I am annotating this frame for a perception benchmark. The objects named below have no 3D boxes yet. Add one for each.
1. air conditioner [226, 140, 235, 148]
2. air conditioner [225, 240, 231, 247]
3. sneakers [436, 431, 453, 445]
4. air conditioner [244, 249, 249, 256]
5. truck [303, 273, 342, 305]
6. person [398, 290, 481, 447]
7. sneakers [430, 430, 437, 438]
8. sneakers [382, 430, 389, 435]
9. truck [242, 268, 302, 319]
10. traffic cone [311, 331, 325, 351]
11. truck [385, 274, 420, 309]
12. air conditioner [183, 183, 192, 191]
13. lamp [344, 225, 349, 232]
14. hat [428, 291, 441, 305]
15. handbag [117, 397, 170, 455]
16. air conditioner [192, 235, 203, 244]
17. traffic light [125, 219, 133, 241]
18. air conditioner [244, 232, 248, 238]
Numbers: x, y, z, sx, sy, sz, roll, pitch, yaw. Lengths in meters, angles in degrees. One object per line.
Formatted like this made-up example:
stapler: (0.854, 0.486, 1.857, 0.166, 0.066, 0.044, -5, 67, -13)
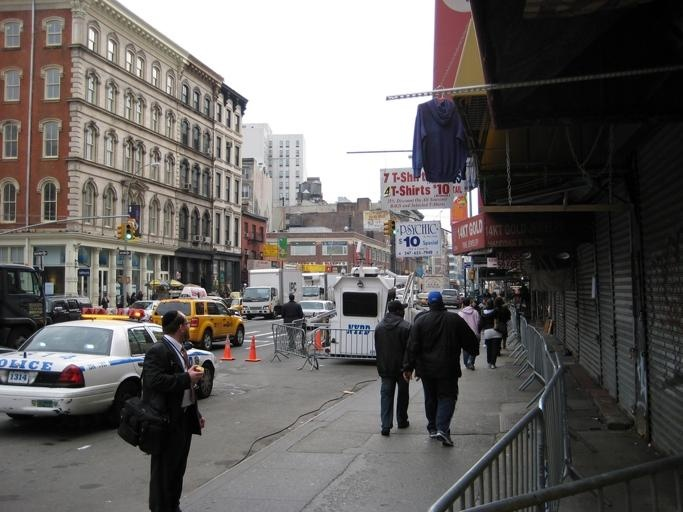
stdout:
air conditioner: (-11.574, -11.720, 71.225, 0.760, 0.849, 0.430, 1, -11, -20)
air conditioner: (-11.835, -1.335, 71.457, 0.403, 0.823, 0.806, -1, -3, 8)
sneakers: (1.573, 2.757, 10.468, 0.260, 0.218, 0.263, -3, -3, 8)
air conditioner: (-10.935, -0.443, 79.039, 0.435, 0.923, 0.860, -2, -5, 8)
truck: (-1.613, 2.214, 51.816, 1.711, 2.235, 3.788, -2, -4, 17)
person: (1.644, 1.738, 10.956, 1.122, 2.397, 1.151, 2, -6, 2)
sneakers: (1.442, 2.781, 10.768, 0.130, 0.077, 0.197, -2, -6, 3)
sneakers: (0.707, 2.861, 11.164, 0.134, 0.085, 0.107, -3, -3, 13)
truck: (-4.962, 2.700, 49.933, 2.352, 3.368, 6.125, -2, -7, 14)
traffic cone: (-0.895, 3.156, 25.916, 0.489, 0.855, 0.668, 1, -4, -29)
truck: (2.520, 1.175, 26.008, 1.429, 1.363, 2.401, 0, -8, -1)
air conditioner: (-13.991, -6.223, 62.227, 0.488, 0.841, 0.921, -1, -3, 4)
lamp: (0.935, -4.911, 122.133, 1.037, 0.924, 1.114, 2, -1, -5)
hat: (1.500, 0.673, 11.075, 0.158, 0.254, 0.231, 7, 26, 11)
handbag: (-2.174, 1.849, 7.509, 0.482, 0.551, 0.258, -3, -3, 25)
air conditioner: (-13.485, -1.573, 64.018, 0.388, 0.760, 1.424, -3, -3, 13)
traffic light: (-10.483, -1.248, 34.010, 0.360, 0.929, 1.439, -1, -3, -17)
air conditioner: (-10.947, -2.454, 78.912, 0.412, 0.491, 0.437, 2, -8, -1)
